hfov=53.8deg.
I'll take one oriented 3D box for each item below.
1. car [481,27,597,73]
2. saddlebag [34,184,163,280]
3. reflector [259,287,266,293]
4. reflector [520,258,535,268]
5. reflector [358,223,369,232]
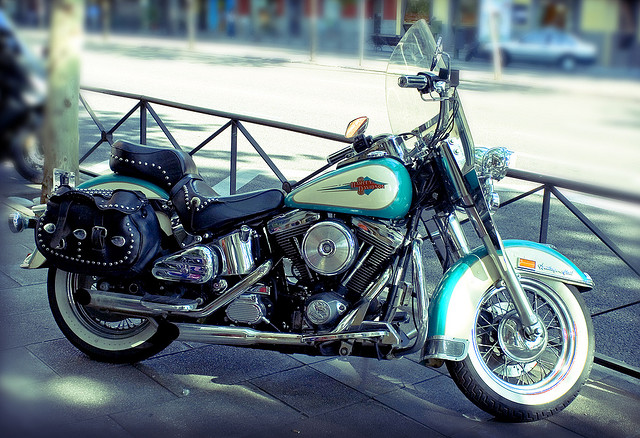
[{"bbox_3d":[8.213,-6.261,23.041,4.190,1.683,1.880,17,25,39],"label":"car"},{"bbox_3d":[-1.452,0.067,4.105,0.726,0.557,0.530,6,7,10],"label":"saddlebag"},{"bbox_3d":[-0.356,0.436,3.892,0.031,0.031,0.008,7,-2,4],"label":"reflector"},{"bbox_3d":[1.213,0.258,3.702,0.085,0.046,0.019,5,14,8],"label":"reflector"},{"bbox_3d":[0.251,0.044,3.693,0.085,0.023,0.022,47,-12,14],"label":"reflector"}]
